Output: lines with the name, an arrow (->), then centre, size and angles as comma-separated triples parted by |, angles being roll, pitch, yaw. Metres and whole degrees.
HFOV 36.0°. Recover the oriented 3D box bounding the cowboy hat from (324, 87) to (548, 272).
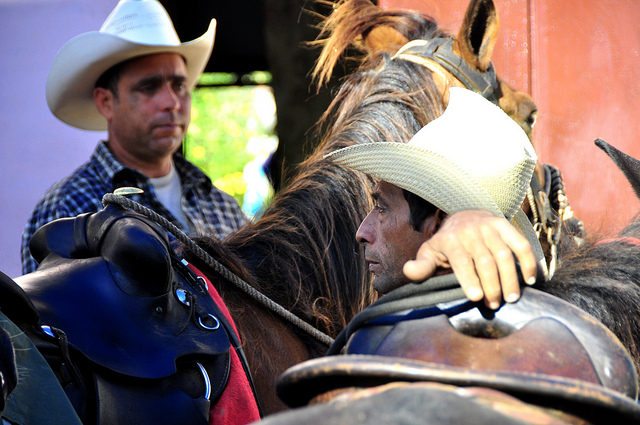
cowboy hat -> 0.411, -0.163, 3.380 | 0.671, 0.286, 0.538 | 30, -8, 5
